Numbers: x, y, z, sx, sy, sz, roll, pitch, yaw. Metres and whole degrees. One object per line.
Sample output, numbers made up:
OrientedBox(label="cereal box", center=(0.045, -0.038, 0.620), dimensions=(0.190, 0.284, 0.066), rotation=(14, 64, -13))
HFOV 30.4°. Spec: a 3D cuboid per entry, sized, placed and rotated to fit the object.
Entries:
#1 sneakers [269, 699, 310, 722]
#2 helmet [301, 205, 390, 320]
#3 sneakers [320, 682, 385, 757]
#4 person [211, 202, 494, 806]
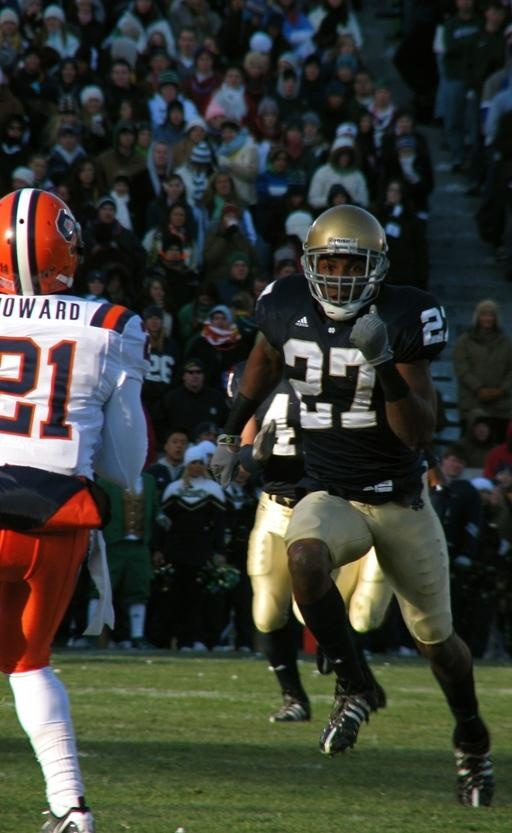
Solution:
OrientedBox(label="sneakers", center=(0.131, 1.114, 3.566), dimensions=(0.186, 0.068, 0.058), rotation=(8, -11, -34))
OrientedBox(label="helmet", center=(0.278, -0.487, 2.886), dimensions=(0.281, 0.309, 0.312), rotation=(2, 20, 9))
OrientedBox(label="sneakers", center=(0.260, 0.836, 2.659), dimensions=(0.129, 0.192, 0.266), rotation=(2, 10, 18))
OrientedBox(label="person", center=(0.329, 0.243, 2.856), dimensions=(0.628, 1.765, 1.047), rotation=(-1, 10, -1))
